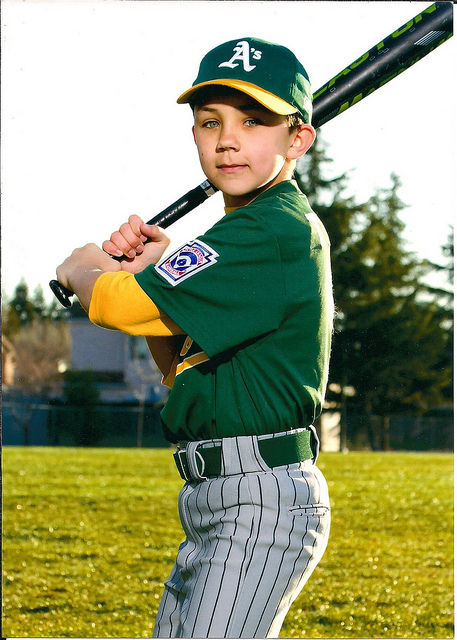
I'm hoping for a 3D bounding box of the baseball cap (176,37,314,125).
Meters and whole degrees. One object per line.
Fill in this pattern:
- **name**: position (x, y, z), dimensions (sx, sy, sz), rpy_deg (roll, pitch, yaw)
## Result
- **baseball cap**: position (0.058, -0.767, 3.897), dimensions (0.431, 0.255, 0.261), rpy_deg (1, -1, -3)
